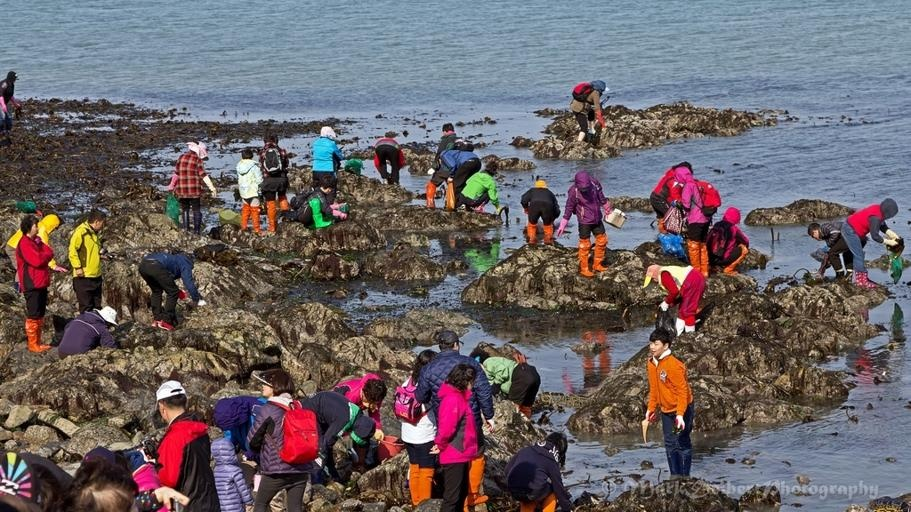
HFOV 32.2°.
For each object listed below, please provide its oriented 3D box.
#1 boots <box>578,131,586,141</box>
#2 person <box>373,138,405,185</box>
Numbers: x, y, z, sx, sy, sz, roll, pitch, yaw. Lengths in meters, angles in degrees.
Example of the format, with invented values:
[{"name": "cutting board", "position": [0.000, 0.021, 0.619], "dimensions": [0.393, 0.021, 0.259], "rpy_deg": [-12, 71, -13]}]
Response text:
[{"name": "boots", "position": [8.703, -8.372, 109.217], "dimensions": [0.288, 0.877, 0.314], "rpy_deg": [12, 21, 11]}, {"name": "person", "position": [-4.311, -6.166, 102.603], "dimensions": [1.683, 3.059, 1.054], "rpy_deg": [1, 16, 7]}]
